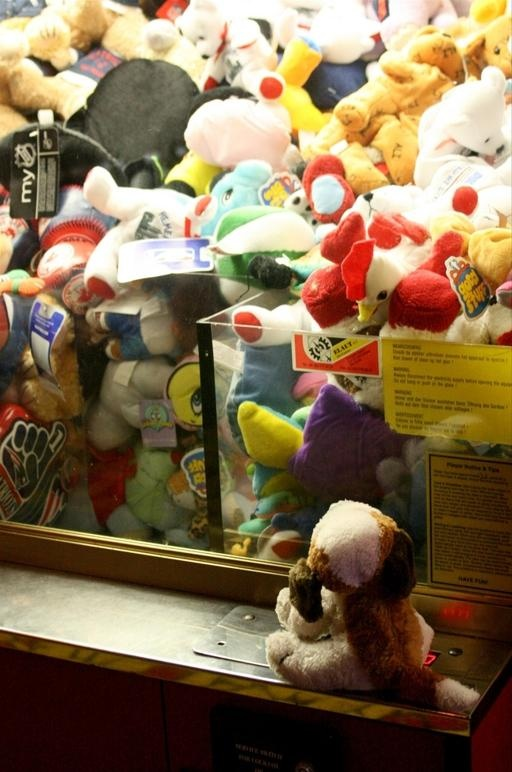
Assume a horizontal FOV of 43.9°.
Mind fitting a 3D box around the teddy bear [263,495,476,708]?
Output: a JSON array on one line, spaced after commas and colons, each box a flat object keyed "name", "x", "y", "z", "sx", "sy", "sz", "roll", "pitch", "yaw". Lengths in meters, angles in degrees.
[{"name": "teddy bear", "x": 0.095, "y": 0.202, "z": 0.590, "sx": 0.166, "sy": 0.149, "sz": 0.205, "roll": 6, "pitch": 5, "yaw": -30}]
